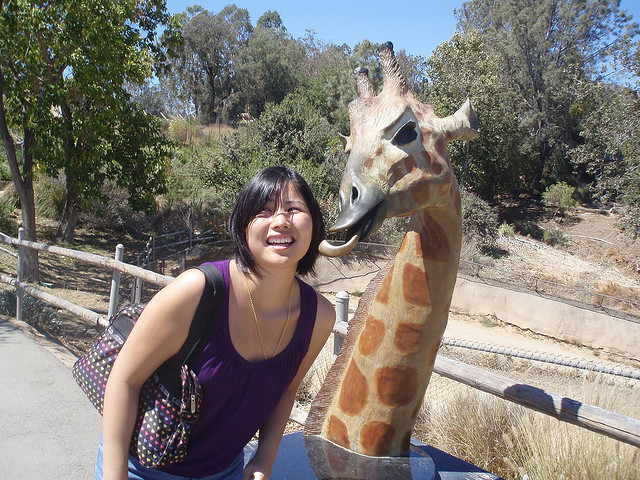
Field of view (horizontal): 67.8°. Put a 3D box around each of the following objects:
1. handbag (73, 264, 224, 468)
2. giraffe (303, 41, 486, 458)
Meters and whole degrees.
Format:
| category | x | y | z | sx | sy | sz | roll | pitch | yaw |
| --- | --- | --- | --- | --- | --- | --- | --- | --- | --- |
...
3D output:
| category | x | y | z | sx | sy | sz | roll | pitch | yaw |
| --- | --- | --- | --- | --- | --- | --- | --- | --- | --- |
| handbag | -0.863 | 0.619 | 2.400 | 0.712 | 1.061 | 0.315 | 7 | 7 | 12 |
| giraffe | 0.446 | 0.130 | 2.846 | 0.909 | 2.593 | 0.761 | 5 | 6 | -1 |
